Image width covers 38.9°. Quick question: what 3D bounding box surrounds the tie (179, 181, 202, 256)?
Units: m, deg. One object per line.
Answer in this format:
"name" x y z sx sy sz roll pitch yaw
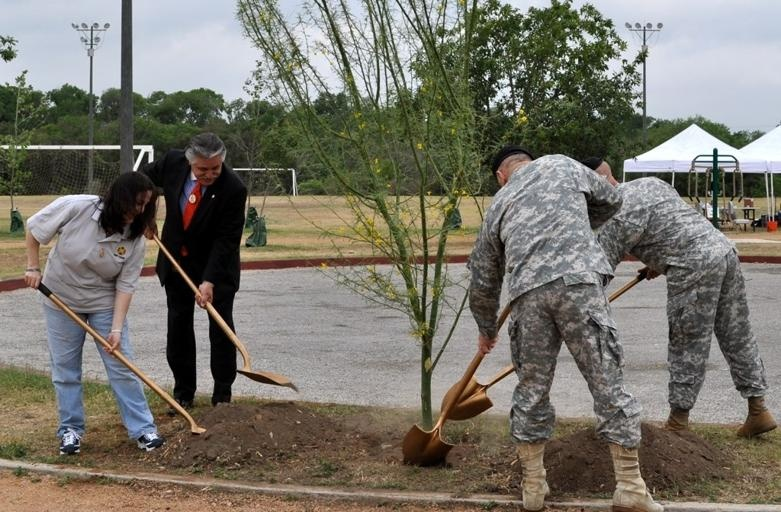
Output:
"tie" -2.077 -0.470 11.525 0.151 0.610 0.098 16 9 3

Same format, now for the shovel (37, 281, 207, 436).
"shovel" -2.768 1.096 11.346 0.213 2.047 0.307 -41 14 35

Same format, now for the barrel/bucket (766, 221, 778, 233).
"barrel/bucket" 10.227 -0.819 29.650 0.368 0.316 0.332 -2 -3 7

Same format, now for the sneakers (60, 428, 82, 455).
"sneakers" -3.057 1.778 10.631 0.239 0.236 0.182 -2 4 -36

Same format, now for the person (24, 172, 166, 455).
"person" -2.854 0.538 10.656 1.232 2.706 0.437 -1 4 -13

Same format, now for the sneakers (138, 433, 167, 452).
"sneakers" -2.326 1.806 10.698 0.291 0.120 0.126 -5 2 24

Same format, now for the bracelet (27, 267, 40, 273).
"bracelet" -3.391 0.125 10.510 0.127 0.074 0.113 -1 3 -19
